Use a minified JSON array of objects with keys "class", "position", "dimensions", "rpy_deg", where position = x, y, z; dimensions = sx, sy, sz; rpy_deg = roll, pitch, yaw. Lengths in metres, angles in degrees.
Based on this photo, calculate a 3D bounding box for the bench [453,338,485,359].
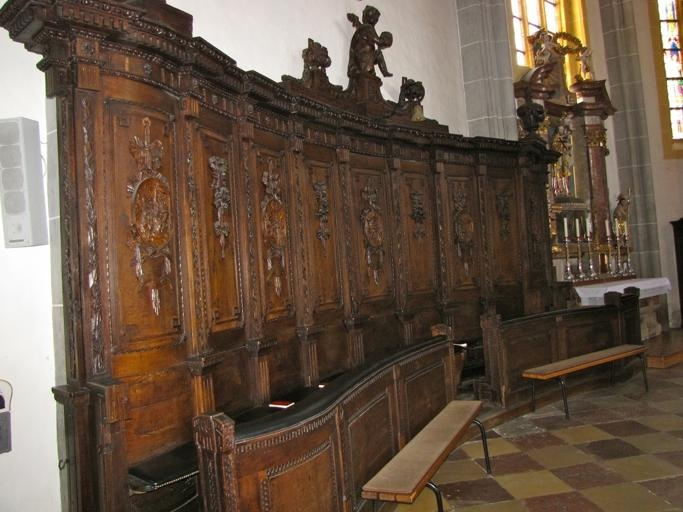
[{"class":"bench","position":[1.710,1.245,8.180],"dimensions":[0.342,0.223,0.481],"rpy_deg":[-5,-5,42]}]

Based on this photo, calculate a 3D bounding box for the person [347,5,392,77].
[{"class":"person","position":[0.371,-2.831,8.138],"dimensions":[0.611,0.972,0.619],"rpy_deg":[-7,0,19]}]

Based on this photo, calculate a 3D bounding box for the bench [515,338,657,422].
[{"class":"bench","position":[3.199,1.544,7.796],"dimensions":[2.418,0.856,0.749],"rpy_deg":[-7,0,-39]}]
